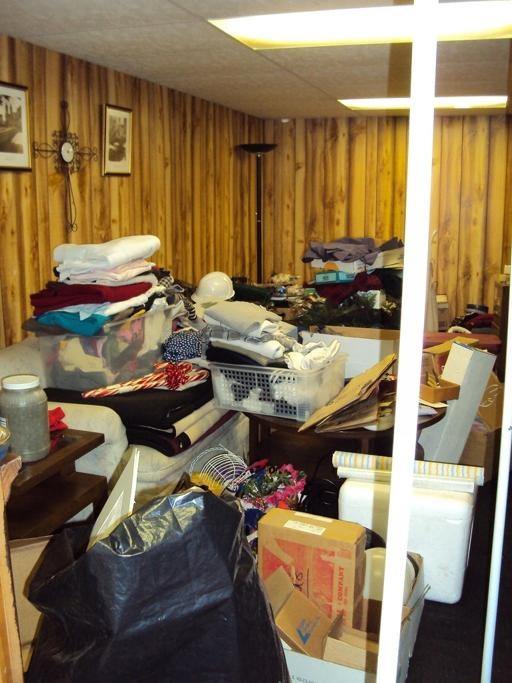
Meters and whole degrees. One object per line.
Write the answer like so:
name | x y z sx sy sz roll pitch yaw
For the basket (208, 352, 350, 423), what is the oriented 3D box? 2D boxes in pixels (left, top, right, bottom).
basket | 0.055 0.137 2.051 0.364 0.128 0.274 6 14 28

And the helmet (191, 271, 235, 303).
helmet | -0.268 -0.353 3.574 0.199 0.134 0.249 14 19 24

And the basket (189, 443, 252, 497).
basket | -0.106 0.449 1.815 0.159 0.105 0.271 -8 15 -31
